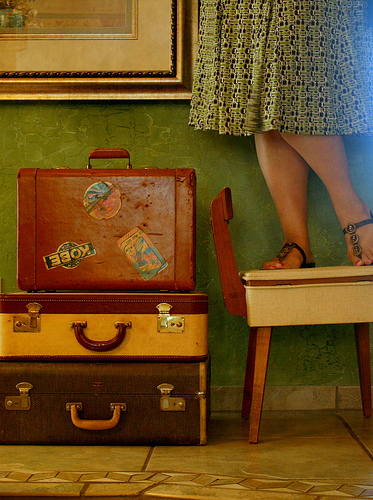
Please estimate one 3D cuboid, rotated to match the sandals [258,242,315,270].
[{"bbox_3d":[0.270,0.013,1.360,0.167,0.054,0.057,5,-10,-41],"label":"sandals"}]
